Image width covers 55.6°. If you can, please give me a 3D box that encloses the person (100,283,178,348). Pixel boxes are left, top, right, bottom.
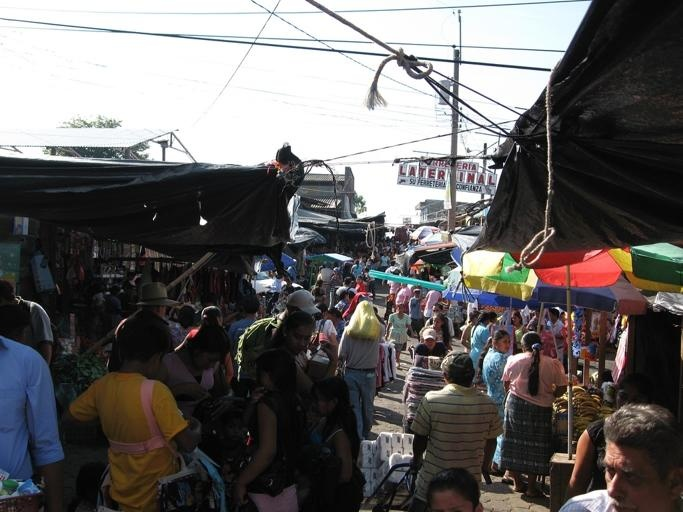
[{"bbox_3d":[-2.083,0.550,7.341,0.728,0.419,1.055,4,5,16],"label":"person"}]

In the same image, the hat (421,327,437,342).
[{"bbox_3d":[1.299,1.166,9.504,0.325,0.196,0.533,-1,-5,9],"label":"hat"}]

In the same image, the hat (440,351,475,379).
[{"bbox_3d":[0.987,0.941,5.627,0.218,0.169,0.306,4,24,2],"label":"hat"}]

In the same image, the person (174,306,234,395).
[{"bbox_3d":[-1.400,0.988,6.352,0.416,1.008,0.319,-3,18,-19],"label":"person"}]

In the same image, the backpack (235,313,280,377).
[{"bbox_3d":[-0.879,0.926,6.791,0.613,0.658,0.274,3,-7,21],"label":"backpack"}]

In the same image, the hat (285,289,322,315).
[{"bbox_3d":[-0.440,0.536,7.516,0.340,0.204,0.256,7,5,10],"label":"hat"}]

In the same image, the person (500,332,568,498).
[{"bbox_3d":[2.225,1.788,7.420,0.726,1.832,0.710,3,6,31],"label":"person"}]

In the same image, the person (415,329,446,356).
[{"bbox_3d":[1.273,1.213,9.130,0.494,0.343,0.756,0,-8,8],"label":"person"}]

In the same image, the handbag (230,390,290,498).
[{"bbox_3d":[-0.567,1.355,4.474,0.135,0.545,0.398,9,-12,-29],"label":"handbag"}]

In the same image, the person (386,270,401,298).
[{"bbox_3d":[1.592,0.825,19.408,0.316,0.387,1.065,9,16,9],"label":"person"}]
